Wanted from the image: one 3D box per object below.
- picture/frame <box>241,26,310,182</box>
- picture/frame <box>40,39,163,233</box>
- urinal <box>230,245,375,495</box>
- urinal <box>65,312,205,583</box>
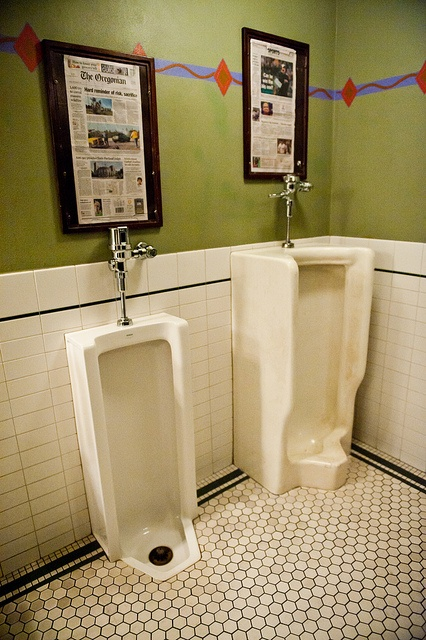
[{"bbox_3d":[0.262,-0.892,1.967,0.411,0.559,0.043,-20,24,-39],"label":"picture/frame"},{"bbox_3d":[-0.338,-0.575,1.509,0.395,0.553,0.023,-19,24,-37],"label":"picture/frame"},{"bbox_3d":[0.398,0.207,2.009,0.526,1.003,0.463,-13,19,-37],"label":"urinal"},{"bbox_3d":[-0.228,0.423,1.608,0.399,0.838,0.395,-15,22,-30],"label":"urinal"}]
